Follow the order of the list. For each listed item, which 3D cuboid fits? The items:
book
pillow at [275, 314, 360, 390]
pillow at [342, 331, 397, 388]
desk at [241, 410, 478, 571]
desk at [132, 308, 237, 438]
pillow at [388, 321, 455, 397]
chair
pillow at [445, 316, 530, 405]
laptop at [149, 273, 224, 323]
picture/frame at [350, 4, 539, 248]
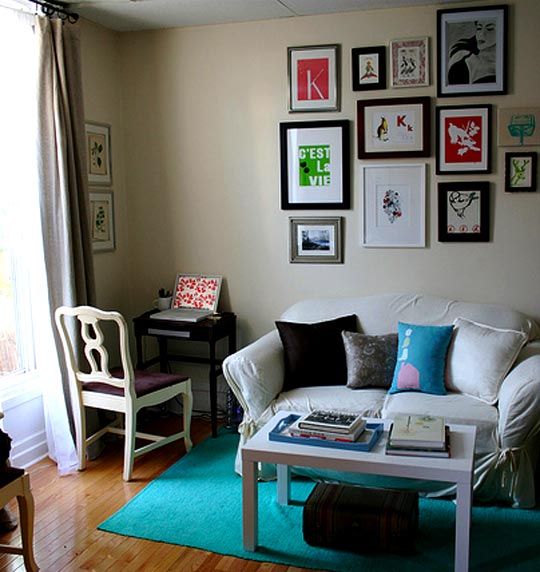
[{"bbox_3d":[0.414,0.559,2.016,0.411,0.058,0.225,-1,6,23],"label":"book"},{"bbox_3d":[0.270,0.389,2.988,0.362,0.305,0.147,-3,-3,-8],"label":"pillow"},{"bbox_3d":[0.546,0.409,2.903,0.281,0.278,0.091,-1,-8,4],"label":"pillow"},{"bbox_3d":[0.348,0.809,2.121,0.866,0.444,0.453,0,5,23],"label":"desk"},{"bbox_3d":[-0.589,0.555,3.658,0.583,0.747,0.428,3,9,17],"label":"desk"},{"bbox_3d":[0.808,0.403,2.824,0.329,0.394,0.150,-1,-34,35],"label":"pillow"},{"bbox_3d":[-0.808,0.538,3.021,0.525,0.940,0.607,2,7,17],"label":"chair"},{"bbox_3d":[1.123,0.379,2.724,0.119,0.367,0.388,28,-8,-30],"label":"pillow"},{"bbox_3d":[-0.557,0.085,3.612,0.346,0.228,0.344,2,8,23],"label":"laptop"},{"bbox_3d":[1.025,-0.932,3.165,1.046,1.401,0.176,0,5,24],"label":"picture/frame"}]
